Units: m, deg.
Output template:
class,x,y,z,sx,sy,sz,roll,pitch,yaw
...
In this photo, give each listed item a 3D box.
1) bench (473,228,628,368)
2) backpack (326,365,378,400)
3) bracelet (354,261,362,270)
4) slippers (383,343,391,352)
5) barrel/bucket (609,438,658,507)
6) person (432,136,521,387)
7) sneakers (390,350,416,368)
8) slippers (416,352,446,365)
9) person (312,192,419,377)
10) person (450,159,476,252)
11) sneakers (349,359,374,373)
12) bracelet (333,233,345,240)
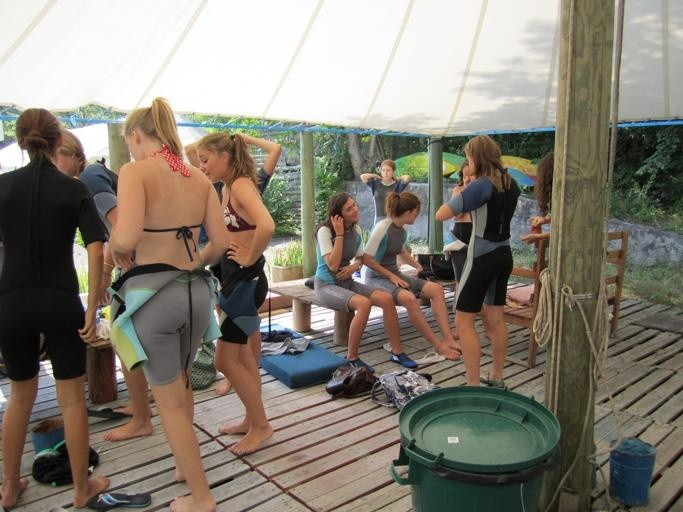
class,x,y,z,sx,sy,sz,roll,pitch,yaw
bench,2.628,0.416,5.555,1.973,1.299,0.807,-1,6,-22
backpack,0.089,1.102,4.524,0.448,0.220,0.275,-2,6,0
bracelet,0.169,0.096,5.436,0.073,0.077,0.136,10,12,8
slippers,0.484,0.972,5.456,0.064,0.031,0.065,0,12,-16
barrel/bucket,1.810,1.355,3.227,0.238,0.358,0.266,2,8,29
person,1.146,0.101,4.297,0.723,2.174,0.371,-7,8,-37
sneakers,0.604,1.025,5.049,0.100,0.103,0.269,-15,15,-34
slippers,0.871,1.017,5.078,0.307,0.097,0.113,-9,22,-8
person,0.208,0.209,5.214,0.789,1.711,0.885,-5,7,-27
person,1.250,-0.521,5.428,0.334,0.929,0.297,-1,-10,42
sneakers,0.197,1.030,4.875,0.211,0.086,0.118,2,2,35
bracelet,-0.035,-0.191,5.078,0.059,0.063,0.060,6,7,26
